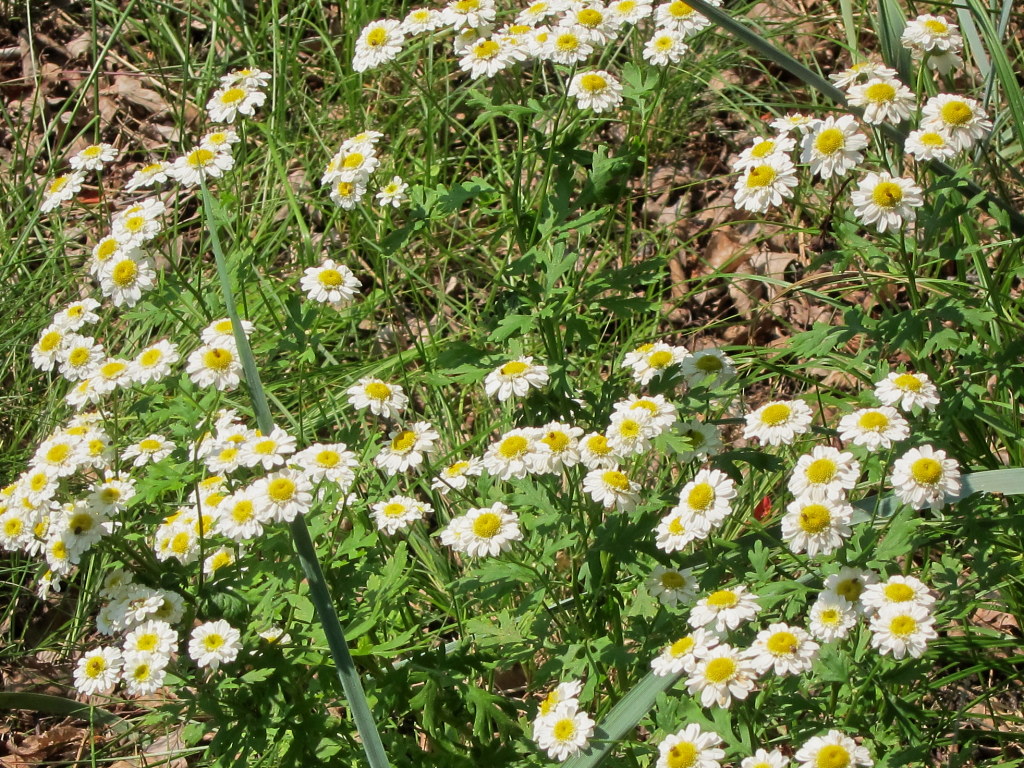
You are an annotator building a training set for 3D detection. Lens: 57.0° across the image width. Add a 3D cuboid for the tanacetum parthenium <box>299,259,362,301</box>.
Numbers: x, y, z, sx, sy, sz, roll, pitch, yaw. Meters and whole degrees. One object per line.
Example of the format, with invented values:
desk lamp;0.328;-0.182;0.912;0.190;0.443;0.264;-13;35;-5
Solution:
tanacetum parthenium;-0.675;-0.371;3.503;0.178;0.121;0.186;-5;65;8
